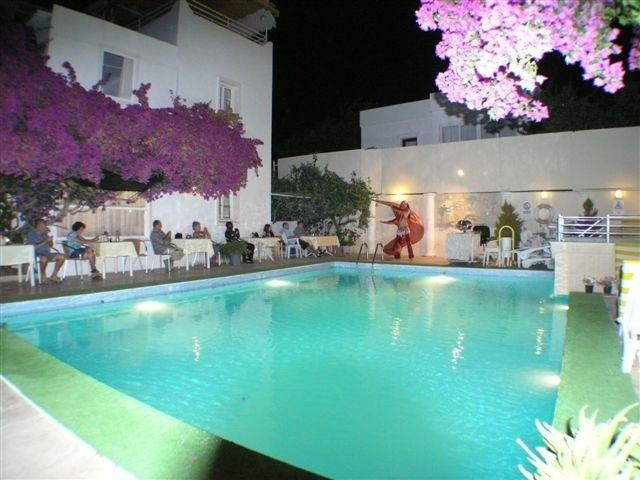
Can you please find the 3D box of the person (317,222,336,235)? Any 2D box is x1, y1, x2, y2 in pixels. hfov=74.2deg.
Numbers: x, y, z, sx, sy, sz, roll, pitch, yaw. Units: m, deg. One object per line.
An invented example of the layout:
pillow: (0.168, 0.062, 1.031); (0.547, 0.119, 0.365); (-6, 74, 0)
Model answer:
person: (0.270, -0.481, 18.076); (0.671, 0.741, 0.537); (-5, -8, 32)

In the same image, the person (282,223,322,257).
person: (-0.726, -0.064, 15.577); (1.476, 0.958, 0.644); (8, -5, -14)

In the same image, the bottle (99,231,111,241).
bottle: (-5.517, -0.091, 10.848); (0.228, 0.202, 0.247); (0, 1, 17)

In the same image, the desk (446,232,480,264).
desk: (4.462, 0.203, 13.309); (0.948, 0.877, 0.940); (-5, 5, -44)

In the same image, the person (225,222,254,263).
person: (-2.542, -0.083, 12.953); (0.503, 1.169, 0.662); (-12, -9, -46)

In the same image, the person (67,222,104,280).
person: (-5.244, 0.241, 9.441); (0.751, 1.266, 0.470); (-1, 6, 2)

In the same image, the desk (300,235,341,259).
desk: (0.055, 0.188, 15.723); (0.901, 0.465, 0.917); (4, -5, -28)

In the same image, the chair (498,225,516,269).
chair: (5.558, 0.078, 12.693); (0.317, 0.952, 0.320); (-2, 4, 21)

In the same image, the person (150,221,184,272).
person: (-4.079, 0.101, 11.252); (0.757, 1.340, 0.516); (-10, 12, -34)
